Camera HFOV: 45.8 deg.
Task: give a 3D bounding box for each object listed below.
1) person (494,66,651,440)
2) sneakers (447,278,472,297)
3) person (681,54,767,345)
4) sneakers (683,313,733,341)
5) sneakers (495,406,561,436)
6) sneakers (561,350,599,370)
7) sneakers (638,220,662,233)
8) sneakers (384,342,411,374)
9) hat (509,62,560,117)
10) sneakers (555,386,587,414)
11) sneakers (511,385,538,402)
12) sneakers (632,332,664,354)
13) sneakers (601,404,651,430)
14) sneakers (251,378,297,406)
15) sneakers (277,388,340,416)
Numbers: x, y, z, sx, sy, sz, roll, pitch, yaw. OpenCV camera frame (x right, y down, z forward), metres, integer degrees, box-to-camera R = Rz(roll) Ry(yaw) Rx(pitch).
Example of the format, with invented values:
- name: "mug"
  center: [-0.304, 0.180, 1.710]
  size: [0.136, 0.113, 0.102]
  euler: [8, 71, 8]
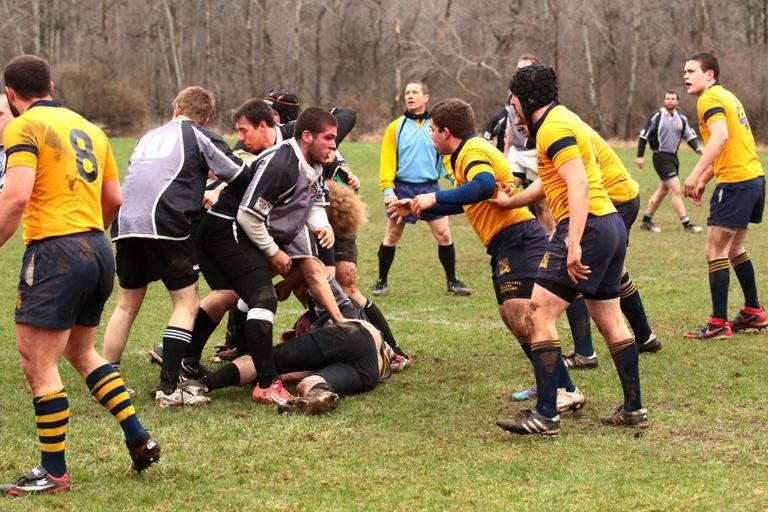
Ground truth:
- name: "person"
  center: [1.585, -0.084, 7.694]
  size: [1.113, 3.091, 0.586]
  euler: [-3, 3, 2]
- name: "sneakers"
  center: [0.955, 0.400, 11.862]
  size: [0.148, 0.160, 0.356]
  euler: [-3, 4, -29]
- name: "person"
  center: [3.722, -0.736, 9.953]
  size: [0.782, 3.125, 1.079]
  euler: [-2, 3, 30]
- name: "sneakers"
  center: [3.487, 0.761, 9.652]
  size: [0.589, 0.268, 0.205]
  euler: [1, -1, 2]
- name: "sneakers"
  center: [1.226, 1.378, 7.665]
  size: [0.580, 0.235, 0.206]
  euler: [4, -8, -4]
- name: "sneakers"
  center: [1.920, 1.011, 8.945]
  size: [0.354, 0.134, 0.174]
  euler: [3, -5, 0]
- name: "sneakers"
  center: [4.648, -0.514, 15.897]
  size: [0.438, 0.178, 0.159]
  euler: [12, 25, 22]
- name: "sneakers"
  center: [0.114, 1.023, 9.008]
  size: [0.152, 0.201, 0.437]
  euler: [-27, -10, 20]
- name: "hat"
  center: [1.270, -1.440, 7.900]
  size: [0.435, 0.428, 0.382]
  euler: [-8, 4, 15]
- name: "sneakers"
  center: [1.622, 1.257, 7.965]
  size: [0.385, 0.179, 0.147]
  euler: [-7, -5, -35]
- name: "sneakers"
  center: [1.280, 1.261, 8.349]
  size: [0.102, 0.107, 0.309]
  euler: [4, 14, 35]
- name: "sneakers"
  center: [2.692, 0.873, 9.200]
  size: [0.130, 0.154, 0.329]
  euler: [-1, 9, 22]
- name: "sneakers"
  center: [2.067, 1.370, 7.827]
  size: [0.425, 0.182, 0.153]
  euler: [4, 0, 17]
- name: "sneakers"
  center: [-1.032, 1.215, 8.154]
  size: [0.458, 0.198, 0.171]
  euler: [2, 1, 14]
- name: "sneakers"
  center: [-0.687, 1.264, 8.007]
  size: [0.553, 0.203, 0.243]
  euler: [-1, 33, -8]
